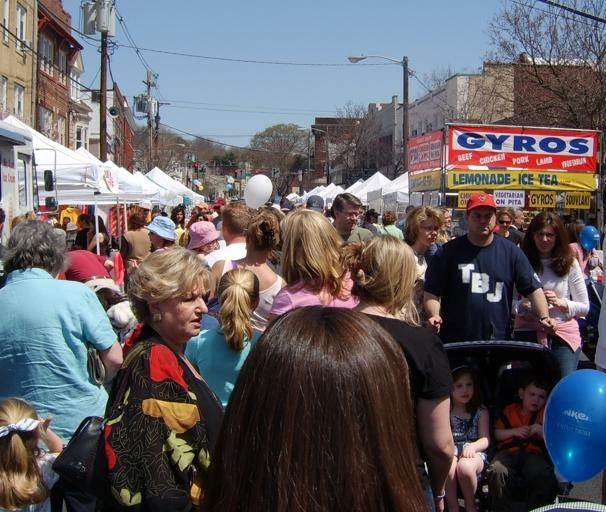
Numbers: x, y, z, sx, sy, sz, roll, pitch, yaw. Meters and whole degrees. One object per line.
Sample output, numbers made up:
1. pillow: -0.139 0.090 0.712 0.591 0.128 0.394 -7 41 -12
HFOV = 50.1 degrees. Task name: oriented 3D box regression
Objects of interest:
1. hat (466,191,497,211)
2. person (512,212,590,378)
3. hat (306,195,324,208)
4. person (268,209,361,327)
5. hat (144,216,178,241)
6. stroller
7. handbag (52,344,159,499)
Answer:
1. hat: 1.440 -0.429 5.256 0.215 0.161 0.260 4 3 17
2. person: 2.242 0.694 5.971 0.646 2.236 0.626 3 18 28
3. hat: 0.150 -0.681 8.350 0.140 0.155 0.259 4 20 -1
4. person: 0.058 0.151 4.256 0.779 0.883 0.431 -2 -4 -43
5. hat: -1.737 -0.344 7.919 0.297 0.167 0.288 35 7 12
6. stroller: 1.213 1.067 4.416 0.699 1.149 0.953 0 -6 5
7. handbag: -0.911 0.750 2.944 0.281 0.815 0.584 16 -11 -7
